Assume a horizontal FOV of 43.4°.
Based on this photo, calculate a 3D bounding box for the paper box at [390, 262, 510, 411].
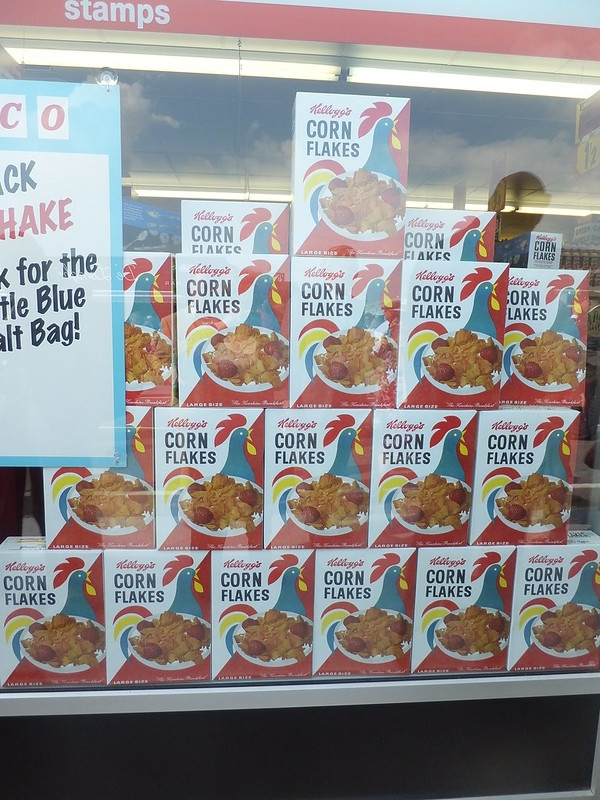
[{"bbox_3d":[0.378,-0.179,1.969,0.390,0.480,0.178,2,7,-6],"label":"paper box"}]

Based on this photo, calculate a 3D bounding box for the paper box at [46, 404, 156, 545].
[{"bbox_3d":[-0.531,0.179,1.980,0.381,0.432,0.159,0,7,0],"label":"paper box"}]

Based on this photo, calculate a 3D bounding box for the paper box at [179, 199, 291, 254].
[{"bbox_3d":[-0.200,-0.452,1.979,0.300,0.134,0.149,-6,24,-20],"label":"paper box"}]

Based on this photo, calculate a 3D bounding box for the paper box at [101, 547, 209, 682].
[{"bbox_3d":[-0.397,0.557,2.015,0.387,0.433,0.147,0,7,-3],"label":"paper box"}]
